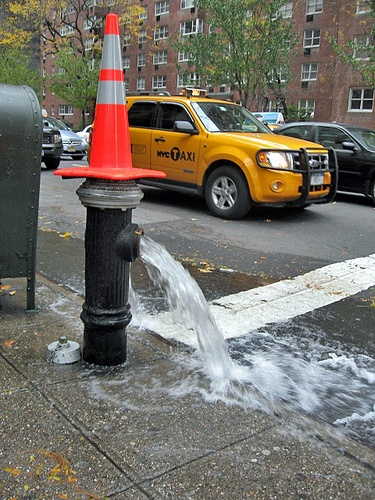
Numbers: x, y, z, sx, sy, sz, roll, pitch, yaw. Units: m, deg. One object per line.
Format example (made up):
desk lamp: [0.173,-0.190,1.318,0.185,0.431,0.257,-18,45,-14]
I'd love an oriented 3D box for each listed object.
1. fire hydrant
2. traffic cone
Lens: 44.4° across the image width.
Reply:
fire hydrant: [-0.439,0.134,2.473,0.335,1.029,0.222,2,10,-14]
traffic cone: [-0.390,-0.808,2.442,0.622,0.786,0.611,-9,21,-34]
